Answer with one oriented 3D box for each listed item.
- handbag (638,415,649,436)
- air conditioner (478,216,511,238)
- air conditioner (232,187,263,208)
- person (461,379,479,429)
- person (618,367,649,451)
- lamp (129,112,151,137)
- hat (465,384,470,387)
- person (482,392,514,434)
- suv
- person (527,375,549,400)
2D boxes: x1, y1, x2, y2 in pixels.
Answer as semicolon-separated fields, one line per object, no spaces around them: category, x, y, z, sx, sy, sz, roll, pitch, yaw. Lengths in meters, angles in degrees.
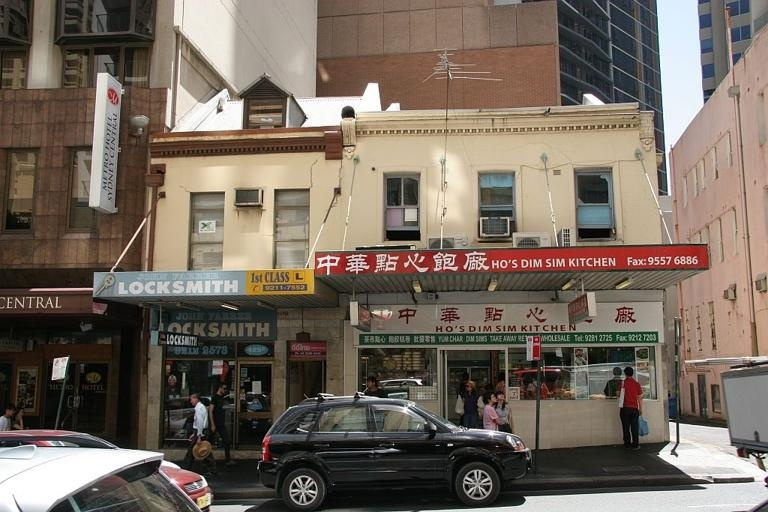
handbag;8.394;5.564;27.478;0.332;0.860;0.653;-6;-12;16
air conditioner;3.684;-0.737;28.468;1.028;0.749;0.644;0;-13;1
air conditioner;-4.651;-2.018;29.226;1.038;0.579;0.736;2;-2;0
person;2.736;5.010;26.691;0.567;2.025;0.517;0;7;11
person;8.075;4.968;27.554;0.627;2.599;0.833;-10;-14;44
lamp;-8.567;-4.598;29.505;0.717;0.687;0.719;-1;-7;2
hat;2.623;4.128;26.788;0.110;0.085;0.113;-1;-12;4
person;3.442;4.889;26.013;0.822;1.571;1.298;-10;-13;36
suv;0.304;5.467;23.895;7.050;3.084;3.036;-3;-11;2
person;5.154;4.450;28.335;0.745;0.730;0.189;-2;-10;9
